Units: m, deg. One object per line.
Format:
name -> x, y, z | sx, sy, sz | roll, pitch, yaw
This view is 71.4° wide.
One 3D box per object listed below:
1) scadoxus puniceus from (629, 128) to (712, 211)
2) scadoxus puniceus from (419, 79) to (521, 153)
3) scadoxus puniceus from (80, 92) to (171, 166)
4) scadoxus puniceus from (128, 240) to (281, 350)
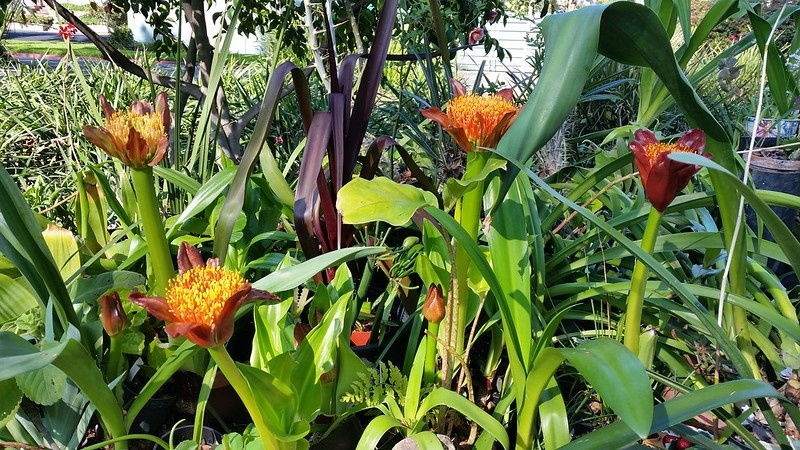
scadoxus puniceus -> 0.558, -0.114, 1.145 | 0.170, 0.166, 0.143 | -4, 15, -22
scadoxus puniceus -> 0.156, -0.233, 1.213 | 0.220, 0.138, 0.139 | -1, 14, -9
scadoxus puniceus -> -0.581, -0.200, 1.233 | 0.177, 0.125, 0.167 | 4, 36, -12
scadoxus puniceus -> -0.374, 0.132, 1.105 | 0.229, 0.117, 0.241 | 31, 43, 26
